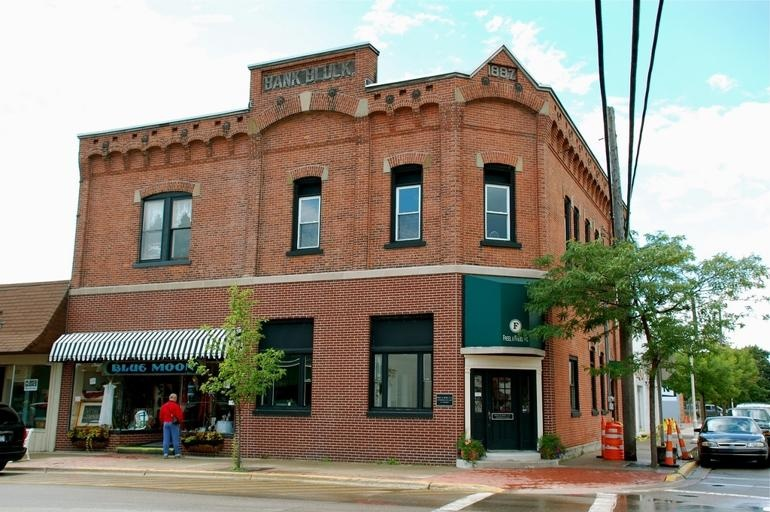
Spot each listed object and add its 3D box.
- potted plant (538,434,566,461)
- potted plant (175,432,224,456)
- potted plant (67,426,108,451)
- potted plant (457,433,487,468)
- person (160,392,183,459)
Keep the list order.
[{"bbox_3d":[5.755,6.509,23.488,0.946,1.013,1.029,7,-16,-33],"label":"potted plant"},{"bbox_3d":[-6.828,6.985,25.927,1.209,0.525,1.074,-2,-14,10],"label":"potted plant"},{"bbox_3d":[-11.627,7.105,26.927,1.212,0.511,1.136,-10,-17,40],"label":"potted plant"},{"bbox_3d":[2.765,6.370,22.536,0.946,0.652,0.862,-16,-9,3],"label":"potted plant"},{"bbox_3d":[-7.735,6.053,24.830,0.764,2.272,1.169,4,-18,-14],"label":"person"}]
